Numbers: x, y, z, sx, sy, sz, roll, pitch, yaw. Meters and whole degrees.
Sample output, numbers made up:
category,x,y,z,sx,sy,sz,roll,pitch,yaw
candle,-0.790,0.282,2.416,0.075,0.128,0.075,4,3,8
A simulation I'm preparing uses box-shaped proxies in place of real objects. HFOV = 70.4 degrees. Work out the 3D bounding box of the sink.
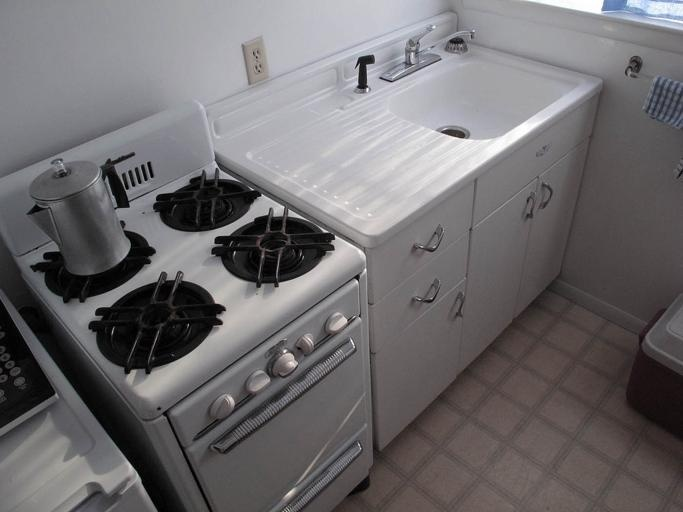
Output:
category,x,y,z,sx,sy,sz,roll,pitch,yaw
sink,0.577,-0.680,2.302,0.620,0.161,0.870,15,7,4

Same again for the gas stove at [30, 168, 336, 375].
category,x,y,z,sx,sy,sz,roll,pitch,yaw
gas stove,-0.336,0.042,1.214,0.528,0.094,0.585,-27,52,-29

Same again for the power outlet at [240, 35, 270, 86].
category,x,y,z,sx,sy,sz,roll,pitch,yaw
power outlet,-0.296,-0.671,1.640,0.036,0.149,0.106,30,51,33

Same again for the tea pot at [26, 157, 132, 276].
category,x,y,z,sx,sy,sz,roll,pitch,yaw
tea pot,-0.630,-0.086,1.151,0.137,0.213,0.242,24,47,20
